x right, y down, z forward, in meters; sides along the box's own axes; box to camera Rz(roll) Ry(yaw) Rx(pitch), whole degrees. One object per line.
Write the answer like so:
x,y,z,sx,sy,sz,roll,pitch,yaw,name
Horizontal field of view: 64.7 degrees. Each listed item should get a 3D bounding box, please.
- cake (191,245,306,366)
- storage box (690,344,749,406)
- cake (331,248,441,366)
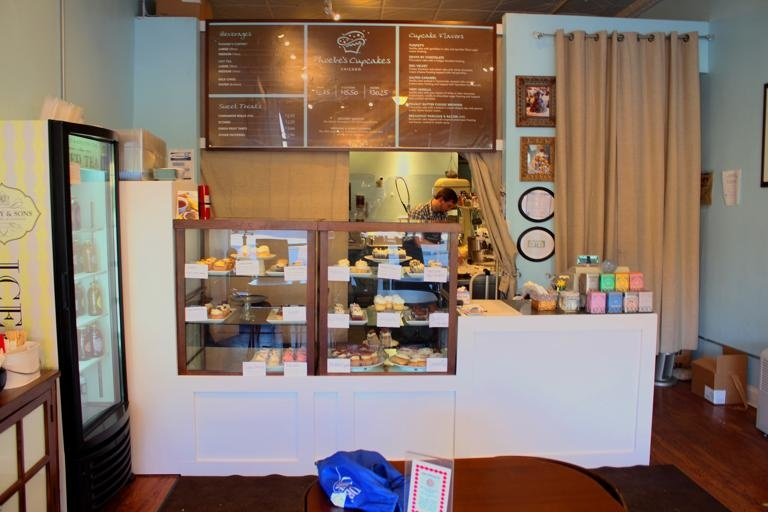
-1.006,0.343,4.545,0.910,0.882,0.313,0,5,2,cake
3.161,1.120,5.690,0.458,0.482,0.330,0,6,18,storage box
0.003,0.348,4.539,0.878,0.809,0.443,1,5,1,cake
